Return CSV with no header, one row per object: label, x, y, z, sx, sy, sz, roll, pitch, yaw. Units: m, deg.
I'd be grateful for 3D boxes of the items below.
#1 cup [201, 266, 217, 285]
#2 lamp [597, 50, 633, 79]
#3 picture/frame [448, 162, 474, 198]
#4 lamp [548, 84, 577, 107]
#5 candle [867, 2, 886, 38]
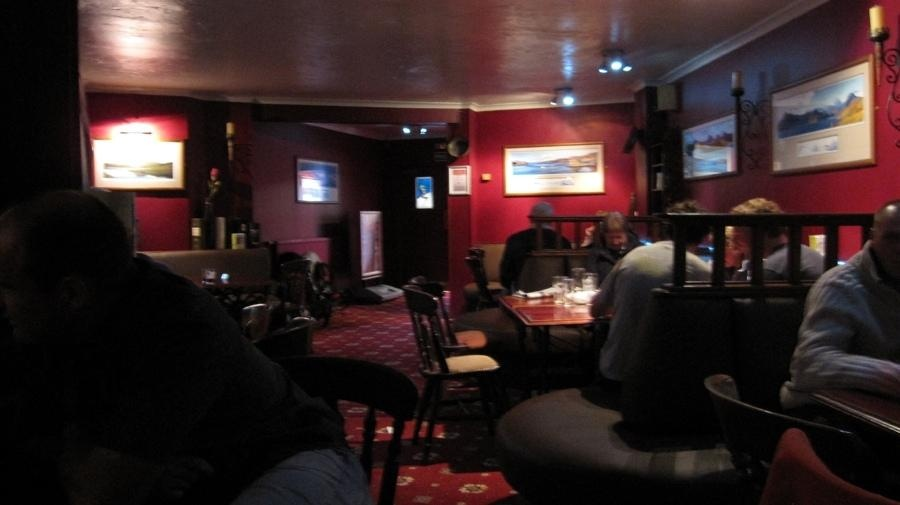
cup,-2.520,0.246,6.818,0.192,0.170,0.170,0,-3,1
lamp,1.734,-1.986,6.835,0.368,0.196,0.171,-1,-12,4
picture/frame,0.150,-0.993,8.983,0.334,0.415,0.171,-2,6,-2
lamp,1.443,-1.992,8.320,0.266,0.181,0.374,4,5,7
candle,3.028,-1.631,4.617,0.118,0.225,0.079,0,6,19
